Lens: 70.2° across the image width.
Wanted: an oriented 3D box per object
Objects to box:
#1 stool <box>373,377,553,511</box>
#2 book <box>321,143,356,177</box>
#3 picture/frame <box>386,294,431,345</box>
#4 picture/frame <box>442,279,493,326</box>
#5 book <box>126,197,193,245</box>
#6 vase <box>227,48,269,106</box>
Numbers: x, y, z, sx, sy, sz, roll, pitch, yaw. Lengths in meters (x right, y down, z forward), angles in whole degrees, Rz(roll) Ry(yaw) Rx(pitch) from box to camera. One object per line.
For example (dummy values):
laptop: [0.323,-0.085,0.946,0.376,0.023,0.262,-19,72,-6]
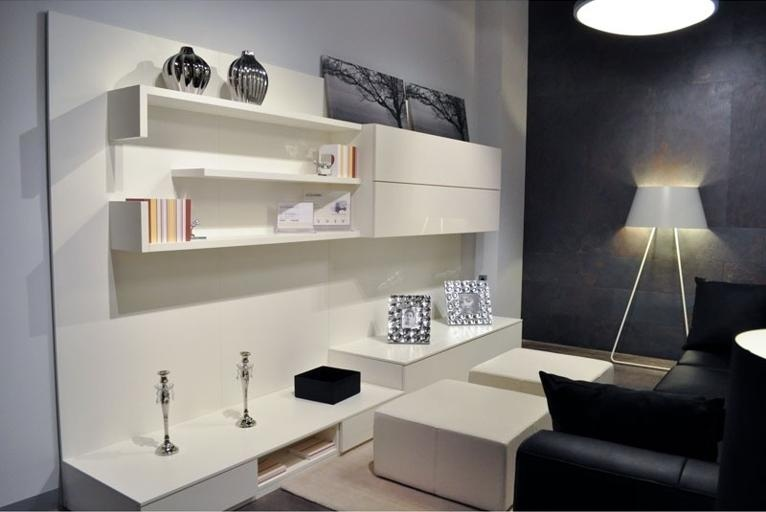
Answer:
stool: [0.456,1.018,3.043,0.712,0.353,0.673,6,11,34]
book: [-0.307,-0.676,4.023,0.239,0.298,0.320,-7,10,-39]
picture/frame: [0.210,0.527,4.479,0.411,0.423,0.042,2,-12,-5]
picture/frame: [0.781,0.440,5.111,0.453,0.411,0.041,2,-15,-18]
book: [-1.288,-0.226,3.137,0.270,0.344,0.372,-6,8,-37]
vase: [-0.865,-1.136,3.482,0.265,0.325,0.271,5,10,6]
